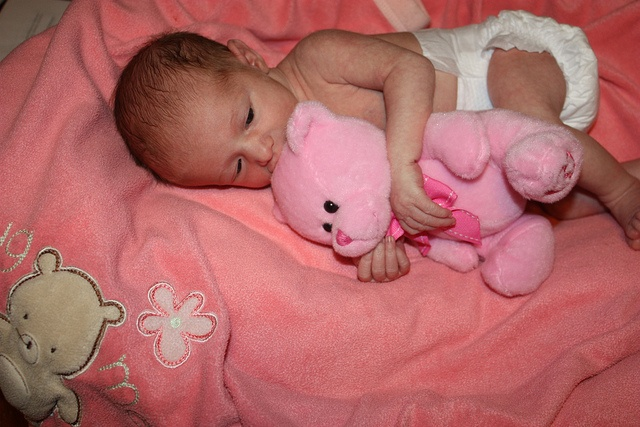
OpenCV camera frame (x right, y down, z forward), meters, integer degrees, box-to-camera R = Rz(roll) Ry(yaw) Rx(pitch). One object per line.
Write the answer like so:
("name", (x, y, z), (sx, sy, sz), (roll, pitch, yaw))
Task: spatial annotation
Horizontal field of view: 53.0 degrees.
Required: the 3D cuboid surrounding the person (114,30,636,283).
("person", (0.321, -0.160, 2.504), (2.344, 0.984, 0.777), (6, -7, -12))
